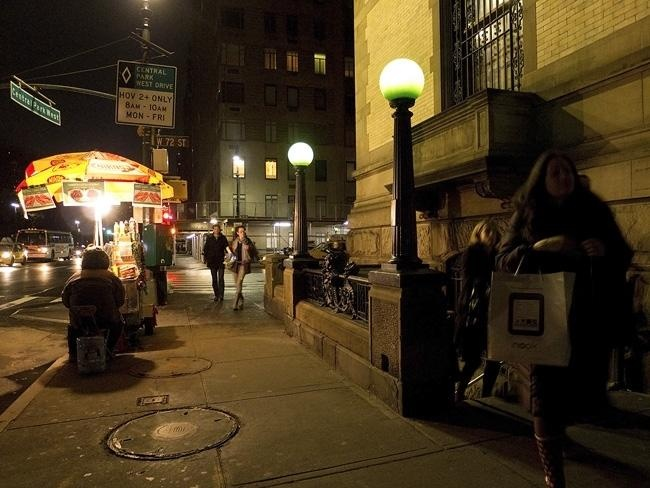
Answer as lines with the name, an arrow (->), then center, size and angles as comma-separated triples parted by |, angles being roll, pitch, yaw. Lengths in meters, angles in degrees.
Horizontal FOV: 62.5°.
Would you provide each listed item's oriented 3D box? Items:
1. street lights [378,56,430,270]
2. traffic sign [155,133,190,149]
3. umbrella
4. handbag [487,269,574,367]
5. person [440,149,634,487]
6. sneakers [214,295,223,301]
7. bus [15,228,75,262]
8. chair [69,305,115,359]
street lights -> 0.959, -1.040, 6.744 | 0.526, 2.626, 0.651 | 0, 5, 10
traffic sign -> -3.900, -2.624, 13.679 | 0.762, 0.281, 0.626 | -3, 6, -20
umbrella -> -4.757, -0.904, 10.784 | 2.515, 1.815, 1.725 | 0, 5, 7
handbag -> 1.780, 0.619, 4.577 | 0.716, 0.949, 0.312 | 0, 5, 16
person -> 2.116, 0.672, 4.738 | 1.070, 2.948, 0.521 | 1, 5, 20
sneakers -> -3.033, 1.555, 15.432 | 0.288, 0.226, 0.098 | -11, -10, 31
bus -> -25.858, 0.046, 49.749 | 2.617, 3.234, 10.382 | -2, -2, -8
chair -> -3.639, 1.328, 8.274 | 0.556, 0.725, 0.886 | -1, 20, -22
